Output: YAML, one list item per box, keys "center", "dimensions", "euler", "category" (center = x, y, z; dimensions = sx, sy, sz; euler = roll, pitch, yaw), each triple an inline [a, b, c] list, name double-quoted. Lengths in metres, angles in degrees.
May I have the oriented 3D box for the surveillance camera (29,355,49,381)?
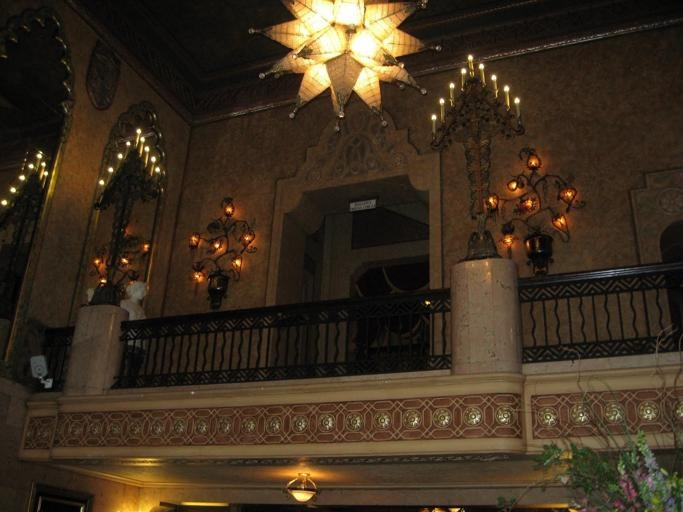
- center: [-4.372, 1.609, 9.998]
  dimensions: [0.092, 0.336, 0.292]
  euler: [-13, -26, 30]
  category: "surveillance camera"

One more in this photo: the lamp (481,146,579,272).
- center: [2.998, -0.758, 10.699]
  dimensions: [1.351, 2.163, 0.348]
  euler: [-7, -23, 17]
  category: "lamp"
